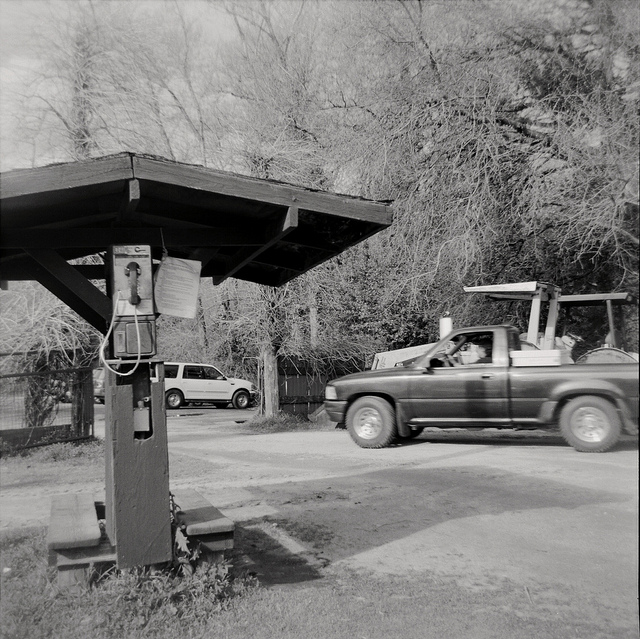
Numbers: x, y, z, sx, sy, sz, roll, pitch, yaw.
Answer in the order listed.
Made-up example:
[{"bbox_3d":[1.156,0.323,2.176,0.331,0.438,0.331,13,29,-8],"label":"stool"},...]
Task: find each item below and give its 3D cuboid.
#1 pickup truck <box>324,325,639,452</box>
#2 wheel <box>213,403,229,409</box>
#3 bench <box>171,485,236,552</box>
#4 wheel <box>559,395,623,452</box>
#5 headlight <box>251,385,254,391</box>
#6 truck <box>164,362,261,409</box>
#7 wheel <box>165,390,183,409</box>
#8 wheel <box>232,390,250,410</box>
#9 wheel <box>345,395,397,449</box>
[{"bbox_3d":[2.566,1.228,11.114,4.219,2.075,2.157,0,-6,15],"label":"pickup truck"},{"bbox_3d":[-3.399,2.970,23.669,0.245,0.108,0.288,-2,-24,-3],"label":"wheel"},{"bbox_3d":[-0.913,1.554,5.240,0.439,0.456,1.090,0,-3,-12],"label":"bench"},{"bbox_3d":[3.949,1.480,10.010,0.664,0.844,0.239,2,9,26],"label":"wheel"},{"bbox_3d":[-2.361,2.378,23.870,0.031,0.139,0.130,2,-4,17],"label":"headlight"},{"bbox_3d":[-3.817,2.220,22.693,3.682,1.780,1.909,0,-4,-19],"label":"truck"},{"bbox_3d":[-4.787,2.624,22.546,0.505,0.664,0.740,0,-2,-15],"label":"wheel"},{"bbox_3d":[-2.736,2.717,23.367,0.539,0.663,0.210,-1,-3,-42],"label":"wheel"},{"bbox_3d":[0.807,1.714,11.353,0.756,0.877,0.311,28,8,9],"label":"wheel"}]
